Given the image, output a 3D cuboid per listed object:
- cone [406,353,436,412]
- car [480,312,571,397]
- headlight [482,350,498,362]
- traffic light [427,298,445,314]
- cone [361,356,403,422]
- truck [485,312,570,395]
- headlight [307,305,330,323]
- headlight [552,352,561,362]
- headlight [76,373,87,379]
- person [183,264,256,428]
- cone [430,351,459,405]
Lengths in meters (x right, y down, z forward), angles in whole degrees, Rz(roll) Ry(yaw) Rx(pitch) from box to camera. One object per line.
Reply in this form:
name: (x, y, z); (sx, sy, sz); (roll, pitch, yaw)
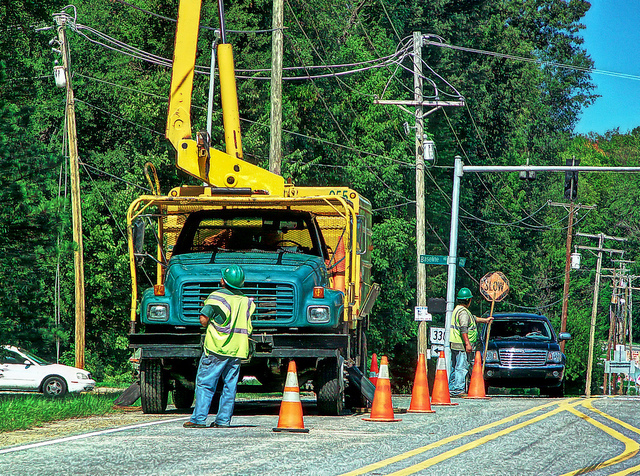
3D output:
cone: (2.115, 3.188, 24.310); (0.680, 1.041, 0.618); (9, -6, -29)
car: (5.726, 3.293, 32.341); (1.780, 1.487, 3.077); (0, -14, 2)
headlight: (4.694, 3.288, 31.303); (0.325, 0.310, 0.079); (-5, -13, 22)
traffic light: (3.609, 2.136, 35.328); (0.665, 0.608, 0.372); (0, 2, 6)
cone: (1.176, 2.958, 22.264); (0.583, 1.308, 0.606); (0, -5, 7)
truck: (5.877, 3.257, 32.068); (2.242, 2.352, 1.961); (0, -9, 14)
headlight: (-0.055, 1.495, 21.976); (0.352, 0.235, 0.354); (-1, 3, 5)
headlight: (6.531, 3.322, 31.309); (0.237, 0.229, 0.059); (2, -15, -1)
headlight: (-7.309, 4.255, 34.662); (0.296, 0.158, 0.104); (5, -9, -22)
person: (-1.787, 1.976, 20.653); (1.087, 3.015, 0.895); (1, -8, 8)
cone: (2.843, 3.227, 26.104); (0.567, 1.304, 0.565); (2, -6, -1)
